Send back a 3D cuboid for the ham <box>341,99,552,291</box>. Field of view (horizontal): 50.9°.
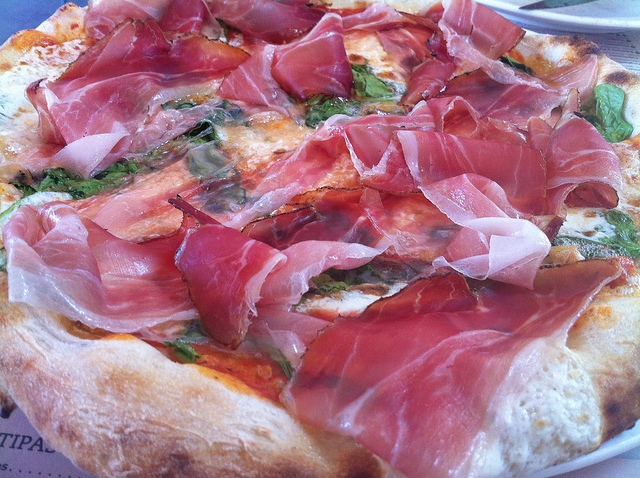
[{"bbox_3d":[0.405,-0.142,1.925,0.538,0.179,0.643,1,39,-46],"label":"ham"}]

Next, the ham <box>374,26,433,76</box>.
[{"bbox_3d":[0.320,-0.726,2.533,0.198,0.062,0.209,-1,55,8],"label":"ham"}]
